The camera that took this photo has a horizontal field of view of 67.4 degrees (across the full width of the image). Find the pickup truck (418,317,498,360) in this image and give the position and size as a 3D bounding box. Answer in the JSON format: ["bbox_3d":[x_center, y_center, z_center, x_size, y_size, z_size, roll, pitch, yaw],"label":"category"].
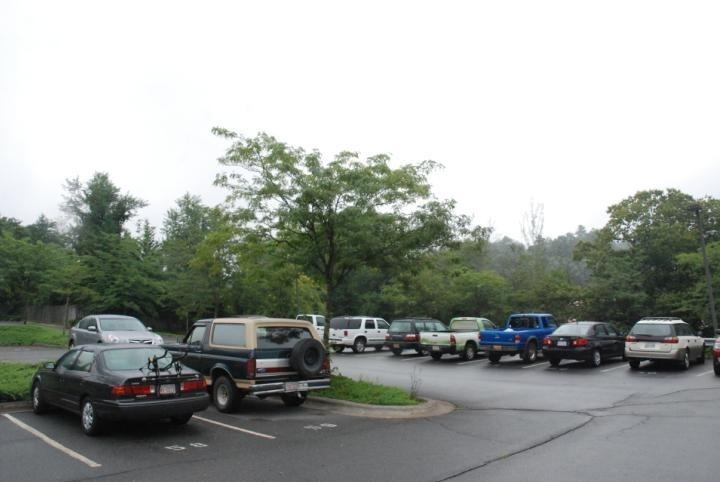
[{"bbox_3d":[5.242,4.952,28.120,1.913,1.568,4.060,-4,-3,41],"label":"pickup truck"}]

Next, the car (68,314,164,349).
[{"bbox_3d":[-10.812,4.224,23.791,5.278,1.995,2.459,-8,-12,41],"label":"car"}]

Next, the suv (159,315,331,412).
[{"bbox_3d":[-3.607,3.428,16.485,2.511,1.996,4.577,4,-4,-38],"label":"suv"}]

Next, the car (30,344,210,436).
[{"bbox_3d":[-6.311,3.734,13.831,4.431,2.201,1.510,-5,-10,20],"label":"car"}]

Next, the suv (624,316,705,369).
[{"bbox_3d":[13.027,4.356,23.257,3.854,2.188,1.812,8,-12,-40],"label":"suv"}]

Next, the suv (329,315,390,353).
[{"bbox_3d":[-0.105,5.585,32.521,3.256,2.113,1.807,2,-10,-16],"label":"suv"}]

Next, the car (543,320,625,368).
[{"bbox_3d":[10.091,4.614,24.343,3.764,1.964,1.485,6,-11,-32],"label":"car"}]
